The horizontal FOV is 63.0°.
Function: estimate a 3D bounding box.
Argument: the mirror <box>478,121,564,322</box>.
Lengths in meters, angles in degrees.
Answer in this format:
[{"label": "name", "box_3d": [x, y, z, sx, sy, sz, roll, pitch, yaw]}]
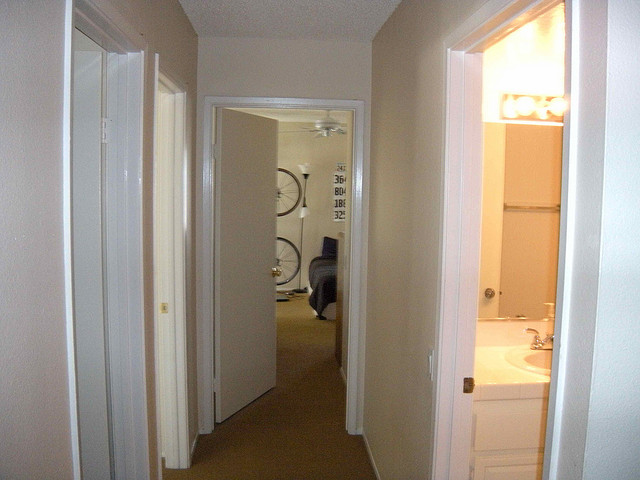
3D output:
[{"label": "mirror", "box_3d": [1.147, -0.238, 2.807, 0.309, 0.863, 0.049, 5, -19, 13]}]

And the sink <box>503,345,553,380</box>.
[{"label": "sink", "box_3d": [1.039, 0.608, 2.610, 0.212, 0.081, 0.378, 6, 10, 26]}]

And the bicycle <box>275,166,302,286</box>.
[{"label": "bicycle", "box_3d": [-0.440, -0.150, 7.586, 0.362, 1.796, 0.959, 1, 8, -3]}]

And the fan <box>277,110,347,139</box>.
[{"label": "fan", "box_3d": [-0.119, -1.519, 6.807, 0.712, 0.241, 0.728, 18, 23, 30]}]

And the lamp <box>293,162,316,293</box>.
[{"label": "lamp", "box_3d": [-0.236, -0.185, 7.858, 0.260, 1.936, 0.387, 3, 8, 8]}]

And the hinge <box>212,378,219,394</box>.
[{"label": "hinge", "box_3d": [-0.705, 0.994, 3.546, 0.040, 0.109, 0.023, -2, 9, -20]}]

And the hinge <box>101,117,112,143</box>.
[{"label": "hinge", "box_3d": [-0.905, -0.465, 2.216, 0.043, 0.102, 0.021, -2, 9, -20]}]
